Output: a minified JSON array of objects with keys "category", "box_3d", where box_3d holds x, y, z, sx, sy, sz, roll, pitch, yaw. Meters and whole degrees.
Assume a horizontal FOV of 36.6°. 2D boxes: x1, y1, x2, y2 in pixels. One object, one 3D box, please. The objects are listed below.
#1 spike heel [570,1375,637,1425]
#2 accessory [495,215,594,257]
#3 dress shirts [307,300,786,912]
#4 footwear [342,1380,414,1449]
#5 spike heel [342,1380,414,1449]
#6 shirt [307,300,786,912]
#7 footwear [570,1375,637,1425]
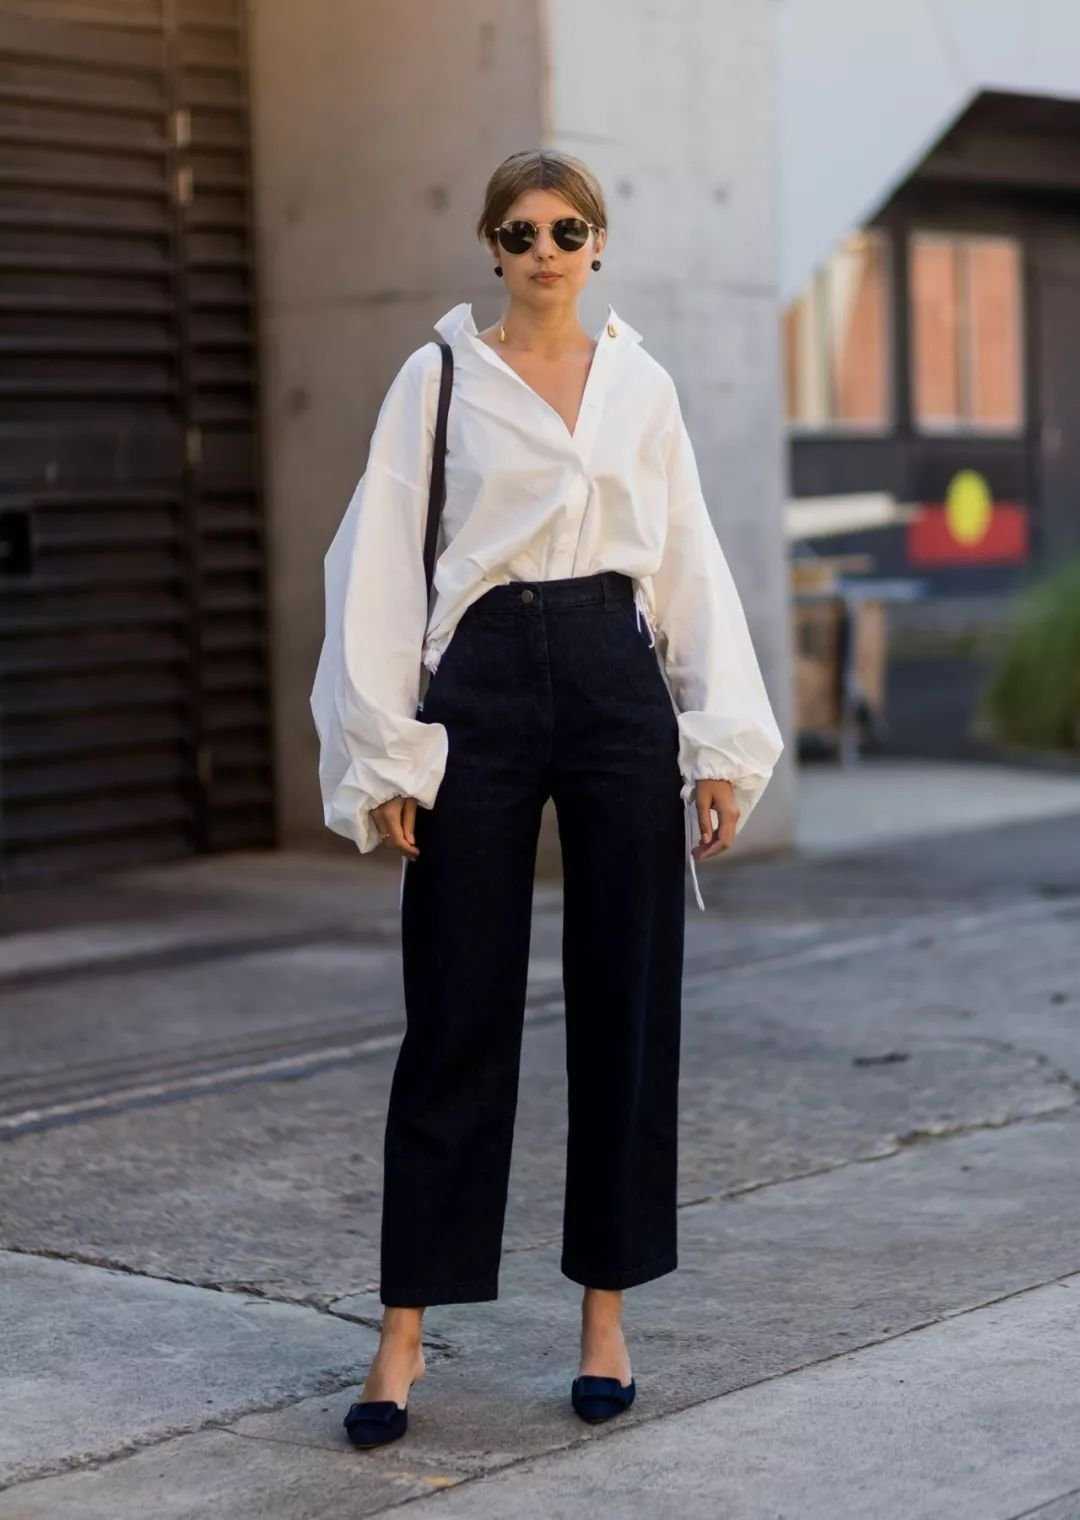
[{"category":"spike heel","box_3d":[0.068,0.776,1.979,0.038,0.021,0.068,2,-1,12]},{"category":"accessory","box_3d":[0.002,-0.633,1.985,0.113,0.045,0.041,0,7,1]},{"category":"dress shirts","box_3d":[0.004,-0.228,2.033,0.572,0.682,0.243,-2,8,-14]},{"category":"footwear","box_3d":[-0.194,0.783,1.913,0.074,0.036,0.078,-1,7,-7]},{"category":"spike heel","box_3d":[-0.198,0.771,1.913,0.037,0.021,0.066,6,15,16]},{"category":"shirt","box_3d":[0.004,-0.228,2.033,0.572,0.682,0.243,-2,8,-14]},{"category":"footwear","box_3d":[0.080,0.781,1.991,0.081,0.038,0.090,-1,7,-3]}]
